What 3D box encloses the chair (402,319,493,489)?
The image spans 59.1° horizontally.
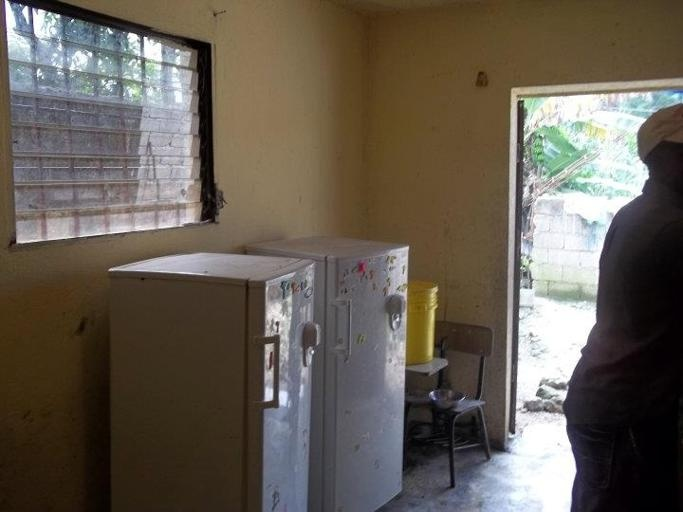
[{"bbox_3d":[0.672,0.938,3.967,0.578,0.915,0.584,-3,7,-31],"label":"chair"}]

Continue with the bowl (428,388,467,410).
[{"bbox_3d":[0.665,0.916,3.873,0.228,0.052,0.276,2,6,24],"label":"bowl"}]
